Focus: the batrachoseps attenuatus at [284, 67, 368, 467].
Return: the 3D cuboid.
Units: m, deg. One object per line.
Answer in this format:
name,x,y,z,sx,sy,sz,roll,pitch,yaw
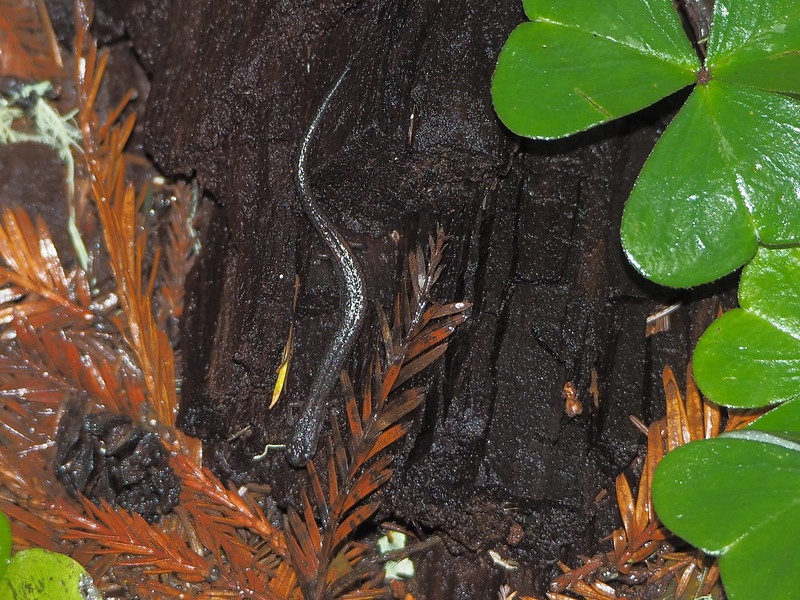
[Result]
batrachoseps attenuatus,-0.181,-0.064,2.931,0.246,1.218,0.058,12,11,-6
